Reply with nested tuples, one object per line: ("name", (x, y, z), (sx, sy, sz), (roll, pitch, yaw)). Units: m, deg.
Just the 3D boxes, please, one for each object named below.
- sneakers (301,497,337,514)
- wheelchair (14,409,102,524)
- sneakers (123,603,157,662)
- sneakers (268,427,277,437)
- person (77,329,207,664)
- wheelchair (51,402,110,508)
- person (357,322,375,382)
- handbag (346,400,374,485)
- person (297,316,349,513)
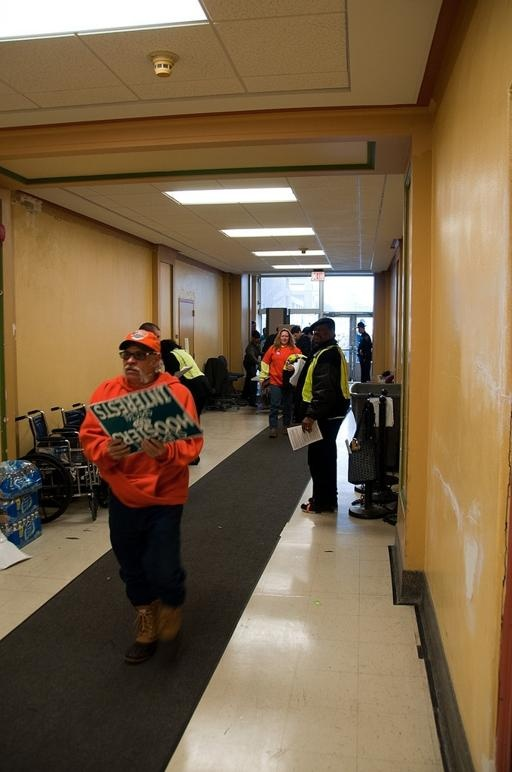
("sneakers", (0.532, 1.061, 4.605), (0.327, 0.163, 0.124), (5, 5, 12))
("wheelchair", (-1.716, 0.652, 4.497), (0.680, 0.882, 0.605), (-2, 9, -4))
("sneakers", (-0.492, 1.069, 2.287), (0.098, 0.193, 0.264), (-4, 2, 15))
("sneakers", (0.247, 0.734, 8.209), (0.105, 0.150, 0.327), (-1, -8, 3))
("person", (-0.461, 0.469, 2.138), (0.489, 1.394, 0.697), (0, 1, -20))
("wheelchair", (-1.558, 0.578, 4.635), (0.619, 0.834, 0.538), (7, 12, 36))
("person", (2.865, -0.921, 13.885), (0.397, 1.603, 0.663), (1, 1, 10))
("handbag", (0.840, 0.459, 4.177), (0.213, 0.689, 0.238), (1, 1, 11))
("person", (0.559, 0.275, 4.432), (0.421, 1.659, 0.747), (1, 1, 4))
